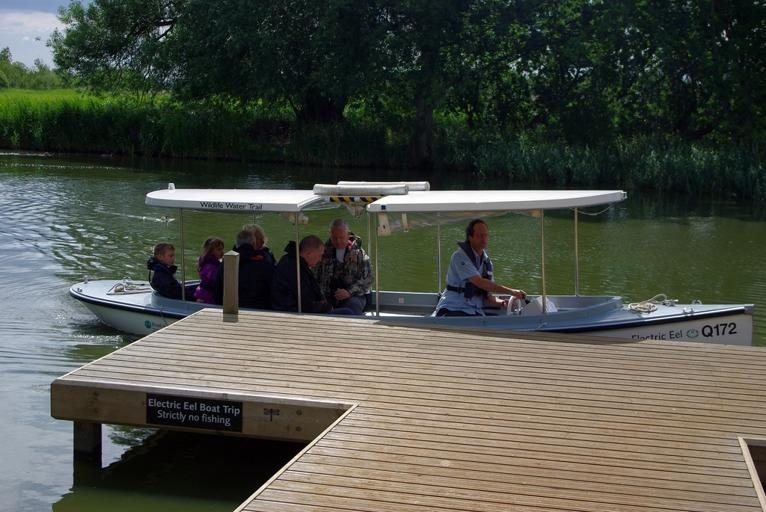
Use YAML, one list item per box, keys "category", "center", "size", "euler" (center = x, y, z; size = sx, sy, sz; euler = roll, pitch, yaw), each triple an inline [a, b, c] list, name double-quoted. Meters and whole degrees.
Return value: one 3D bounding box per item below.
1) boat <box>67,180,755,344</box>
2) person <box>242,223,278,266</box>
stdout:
- category: "boat"
  center: [0.898, 0.155, 25.417]
  size: [14.432, 3.587, 2.046]
  euler: [0, 7, 5]
- category: "person"
  center: [-2.734, -0.254, 25.867]
  size: [0.682, 0.449, 0.915]
  euler: [14, -6, 8]
